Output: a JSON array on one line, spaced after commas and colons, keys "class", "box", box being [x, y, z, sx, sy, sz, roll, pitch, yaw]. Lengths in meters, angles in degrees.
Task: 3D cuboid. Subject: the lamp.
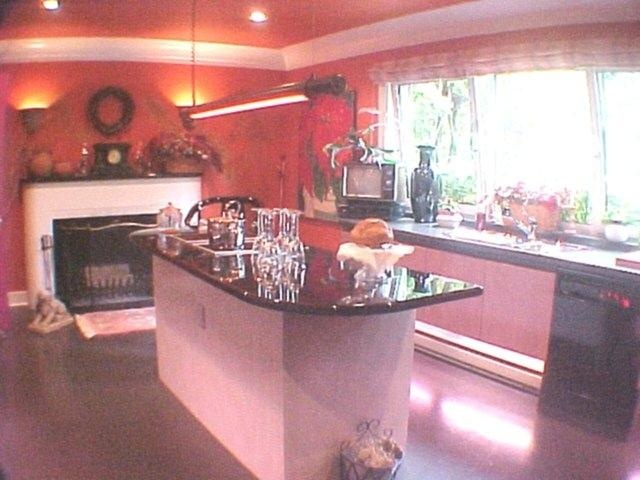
[{"class": "lamp", "box": [-0.316, -0.730, 2.143, 0.818, 0.511, 0.374, 14, 18, 37]}]

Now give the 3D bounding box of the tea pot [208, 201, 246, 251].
[{"class": "tea pot", "box": [-0.406, -0.066, 2.293, 0.206, 0.208, 0.164, -8, 17, -37]}]

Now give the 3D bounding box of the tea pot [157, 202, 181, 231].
[{"class": "tea pot", "box": [-0.715, -0.115, 2.420, 0.112, 0.138, 0.108, 2, 14, 0]}]

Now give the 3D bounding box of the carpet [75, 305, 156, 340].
[{"class": "carpet", "box": [-1.108, 0.441, 2.782, 0.425, 0.126, 0.307, -7, 18, -31]}]
